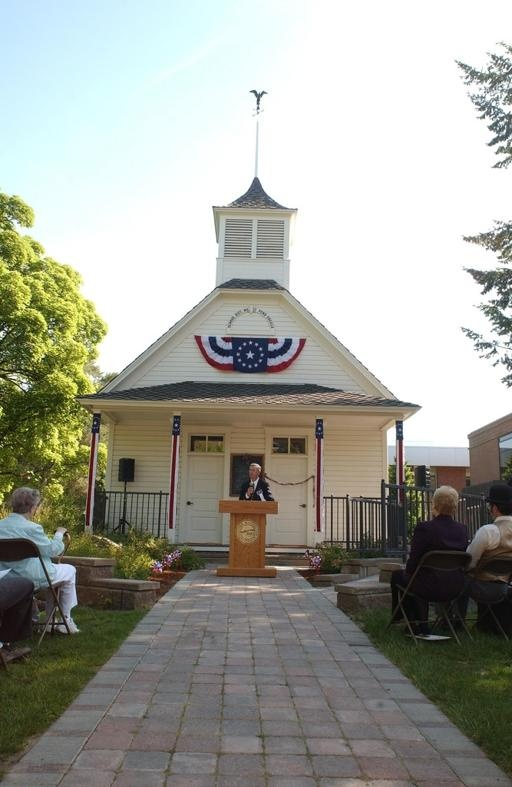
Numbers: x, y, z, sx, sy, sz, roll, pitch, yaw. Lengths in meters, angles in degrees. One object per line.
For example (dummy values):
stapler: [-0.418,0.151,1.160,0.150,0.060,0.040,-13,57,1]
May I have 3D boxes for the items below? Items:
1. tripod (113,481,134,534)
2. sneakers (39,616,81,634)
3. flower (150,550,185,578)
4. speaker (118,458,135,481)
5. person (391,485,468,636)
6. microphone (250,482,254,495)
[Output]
tripod: [-3.440,2.940,15.047,0.356,1.346,1.617,3,-11,-12]
sneakers: [-1.809,2.161,5.372,0.233,0.160,0.336,9,-15,-12]
flower: [-1.535,3.015,10.175,0.220,0.281,0.752,5,-7,2]
speaker: [-3.504,2.107,15.702,0.336,0.669,0.548,-4,-12,28]
person: [1.646,1.598,5.472,0.720,1.427,0.658,-1,-11,14]
microphone: [-0.076,1.675,10.139,0.075,0.202,0.088,-1,-11,11]
